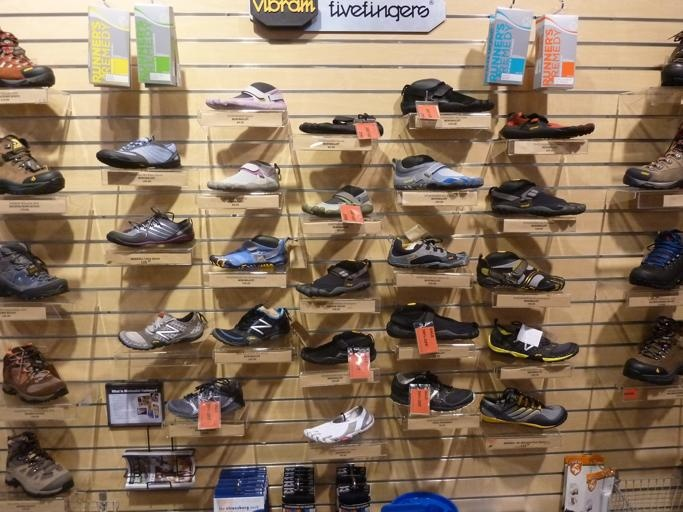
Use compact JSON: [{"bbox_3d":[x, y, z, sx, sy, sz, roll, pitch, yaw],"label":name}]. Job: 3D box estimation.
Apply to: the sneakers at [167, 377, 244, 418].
[{"bbox_3d":[-0.849,0.906,3.614,0.670,0.175,0.190,0,5,-13],"label":"sneakers"}]
